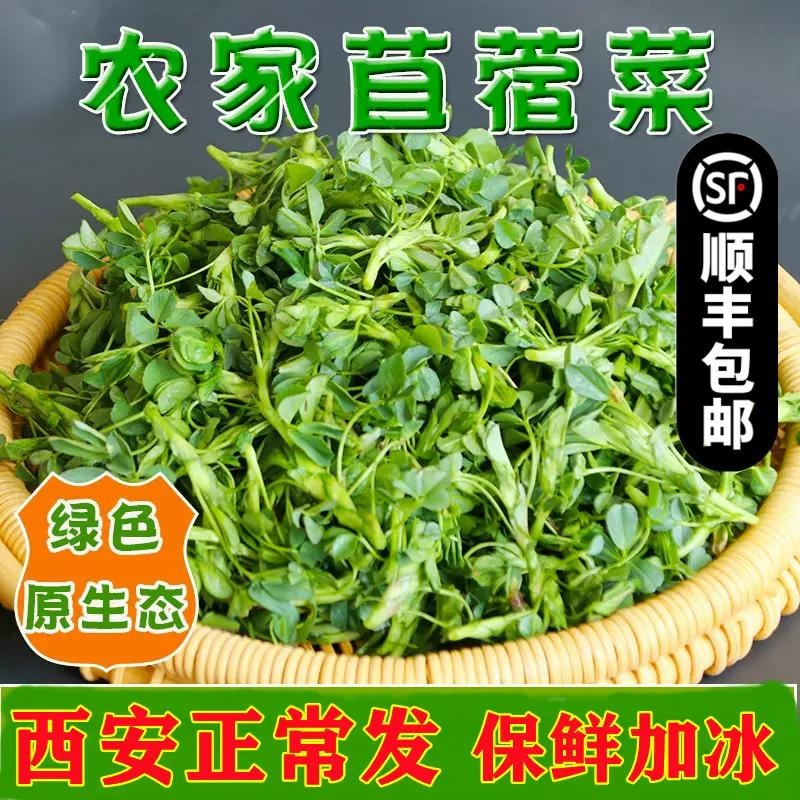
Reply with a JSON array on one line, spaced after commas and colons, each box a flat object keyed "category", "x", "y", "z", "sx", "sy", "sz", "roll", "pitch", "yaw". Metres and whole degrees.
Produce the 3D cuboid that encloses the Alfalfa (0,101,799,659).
[{"category": "Alfalfa", "x": -0.008, "y": -0.004, "z": 0.910, "sx": 0.772, "sy": 0.292, "sz": 0.688, "roll": 1, "pitch": 45, "yaw": -4}]
